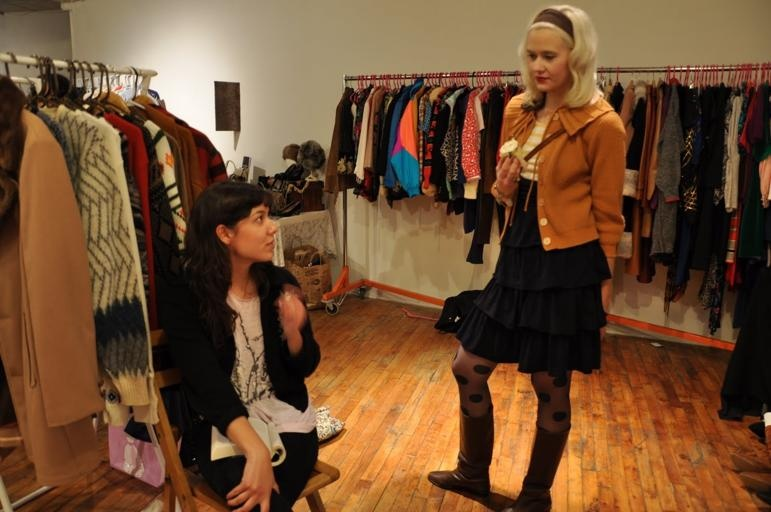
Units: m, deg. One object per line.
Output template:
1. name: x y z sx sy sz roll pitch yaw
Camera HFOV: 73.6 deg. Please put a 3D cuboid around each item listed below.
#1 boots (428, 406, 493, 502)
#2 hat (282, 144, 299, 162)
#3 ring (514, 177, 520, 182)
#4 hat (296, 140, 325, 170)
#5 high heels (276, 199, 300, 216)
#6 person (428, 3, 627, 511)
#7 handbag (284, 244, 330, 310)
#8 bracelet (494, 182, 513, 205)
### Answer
1. boots: 0.380 1.001 2.713 0.348 0.457 0.154 4 8 30
2. hat: -0.966 -1.070 5.427 0.189 0.164 0.139 -5 9 13
3. ring: 0.582 -0.329 2.293 0.020 0.021 0.008 -6 -21 16
4. hat: -0.768 -1.006 5.292 0.214 0.316 0.233 2 -2 -25
5. high heels: -0.948 -0.451 5.051 0.294 0.107 0.110 -14 51 -43
6. person: 0.697 0.105 2.322 0.624 2.266 0.329 7 13 29
7. handbag: -0.797 0.165 5.158 0.489 0.490 0.447 21 50 31
8. bracelet: 0.527 -0.274 2.346 0.073 0.088 0.092 10 17 41
